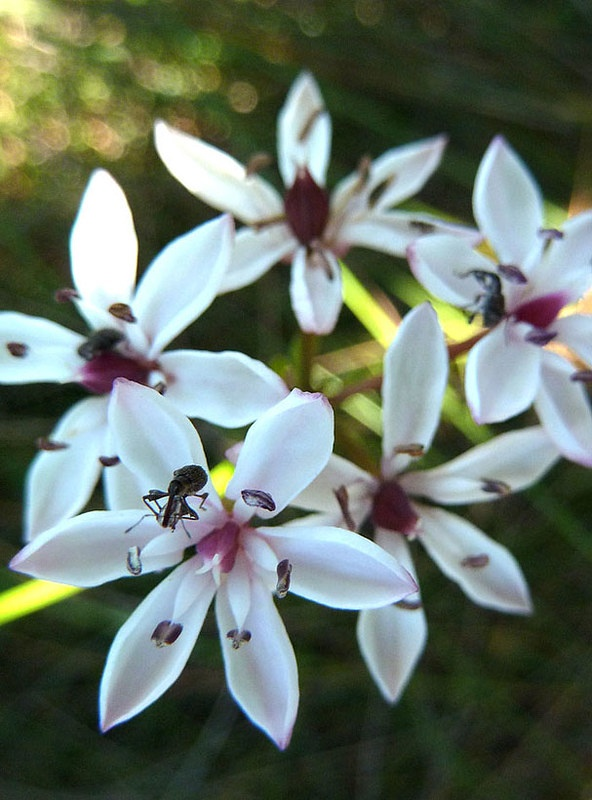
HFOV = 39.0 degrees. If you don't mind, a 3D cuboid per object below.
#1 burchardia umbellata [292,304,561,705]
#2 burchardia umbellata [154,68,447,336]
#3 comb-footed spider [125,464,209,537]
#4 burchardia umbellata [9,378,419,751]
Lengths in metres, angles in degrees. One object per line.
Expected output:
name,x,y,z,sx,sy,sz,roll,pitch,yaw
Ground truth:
burchardia umbellata,0.244,0.190,1.504,0.406,0.697,0.436,-3,7,4
burchardia umbellata,0.039,-0.345,1.600,0.496,0.518,0.279,-31,-16,-3
comb-footed spider,-0.181,0.138,1.218,0.086,0.125,0.095,-2,7,-1
burchardia umbellata,-0.113,0.242,1.264,0.561,0.549,0.277,2,8,1
